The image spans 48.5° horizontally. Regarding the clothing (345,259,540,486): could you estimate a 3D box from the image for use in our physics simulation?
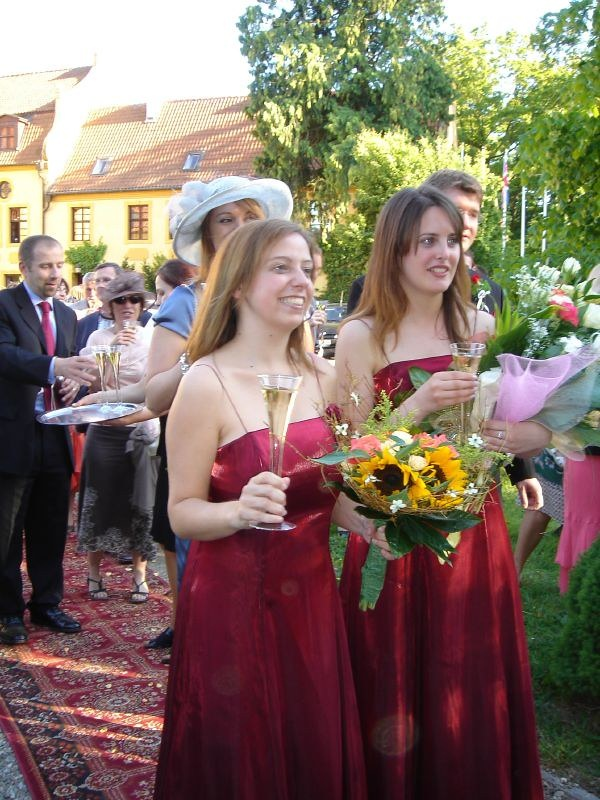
[{"bbox_3d":[0.825,-0.127,3.118,0.924,1.004,0.280,14,13,-2],"label":"clothing"}]

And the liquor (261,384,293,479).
[{"bbox_3d":[-0.043,0.058,1.420,0.063,0.211,0.159,-1,3,-2],"label":"liquor"}]

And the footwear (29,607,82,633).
[{"bbox_3d":[-1.549,1.377,4.259,0.405,0.135,0.130,3,2,24],"label":"footwear"}]

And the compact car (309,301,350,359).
[{"bbox_3d":[0.853,-2.119,19.208,1.533,1.248,2.722,0,-4,-3],"label":"compact car"}]

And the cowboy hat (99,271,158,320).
[{"bbox_3d":[-1.227,-0.812,4.799,0.450,0.242,0.471,-1,-23,-17],"label":"cowboy hat"}]

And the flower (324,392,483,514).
[{"bbox_3d":[0.270,0.146,1.638,0.345,0.159,0.333,21,-5,8],"label":"flower"}]

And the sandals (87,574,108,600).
[{"bbox_3d":[-1.444,1.344,4.761,0.191,0.120,0.508,0,-3,-18],"label":"sandals"}]

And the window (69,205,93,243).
[{"bbox_3d":[-11.540,-9.269,35.330,1.182,1.916,0.412,0,3,24],"label":"window"}]
